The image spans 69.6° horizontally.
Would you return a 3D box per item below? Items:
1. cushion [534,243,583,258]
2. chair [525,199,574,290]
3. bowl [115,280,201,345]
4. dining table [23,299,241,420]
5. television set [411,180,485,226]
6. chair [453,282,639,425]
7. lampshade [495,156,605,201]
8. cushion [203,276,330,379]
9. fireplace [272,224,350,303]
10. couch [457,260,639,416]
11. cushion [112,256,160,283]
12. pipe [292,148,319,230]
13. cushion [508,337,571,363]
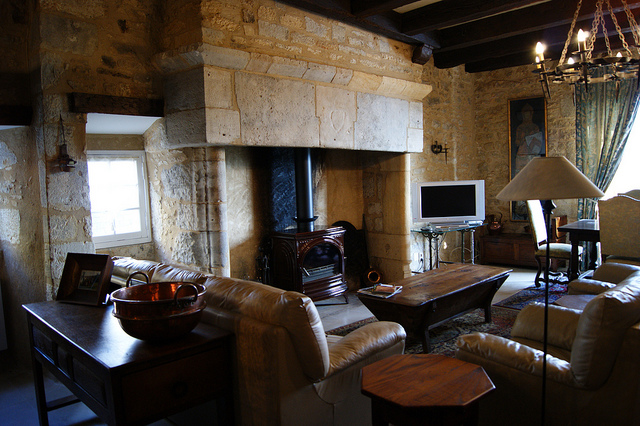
[{"bbox_3d":[3.099,0.464,5.971,0.498,0.239,0.805,-2,4,30],"label":"cushion"},{"bbox_3d":[3.169,0.384,6.136,0.750,1.103,0.777,-4,6,-30],"label":"chair"},{"bbox_3d":[-1.025,0.616,2.979,0.483,0.270,0.439,-1,5,0],"label":"bowl"},{"bbox_3d":[-1.323,0.596,3.035,0.710,0.822,1.327,-7,10,-38],"label":"dining table"},{"bbox_3d":[1.807,-0.147,6.521,1.135,0.589,0.075,-2,3,-15],"label":"television set"},{"bbox_3d":[1.653,0.918,3.391,1.060,1.046,1.064,6,8,44],"label":"chair"},{"bbox_3d":[1.504,-0.259,3.153,0.432,0.291,0.691,14,15,41],"label":"lampshade"},{"bbox_3d":[-0.357,0.783,3.146,0.800,0.670,0.291,-2,4,27],"label":"cushion"},{"bbox_3d":[-0.121,0.647,5.602,0.581,0.900,0.911,2,5,39],"label":"fireplace"},{"bbox_3d":[1.731,0.489,3.344,0.898,0.853,1.867,5,8,40],"label":"couch"},{"bbox_3d":[-1.516,0.439,3.751,0.374,0.094,0.210,4,7,33],"label":"cushion"},{"bbox_3d":[-0.194,-0.276,5.560,0.337,0.986,0.327,-1,6,16],"label":"pipe"},{"bbox_3d":[1.714,0.993,3.580,0.401,0.126,0.398,4,5,36],"label":"cushion"}]
